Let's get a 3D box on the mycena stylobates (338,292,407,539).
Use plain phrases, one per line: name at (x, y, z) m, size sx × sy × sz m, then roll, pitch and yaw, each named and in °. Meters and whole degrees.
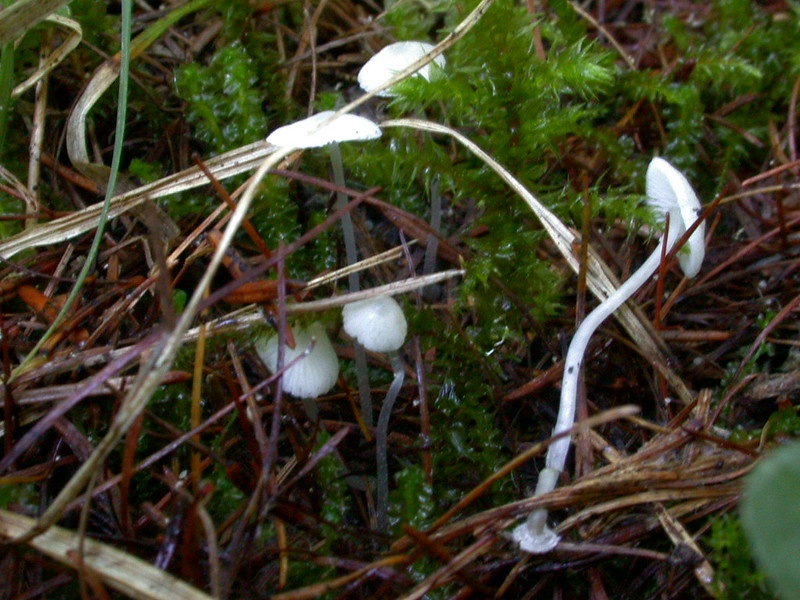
mycena stylobates at (-0.097, 0.380, 2.873) m, size 0.196 × 0.683 × 0.187 m, roll 9°, pitch 20°, yaw 13°
